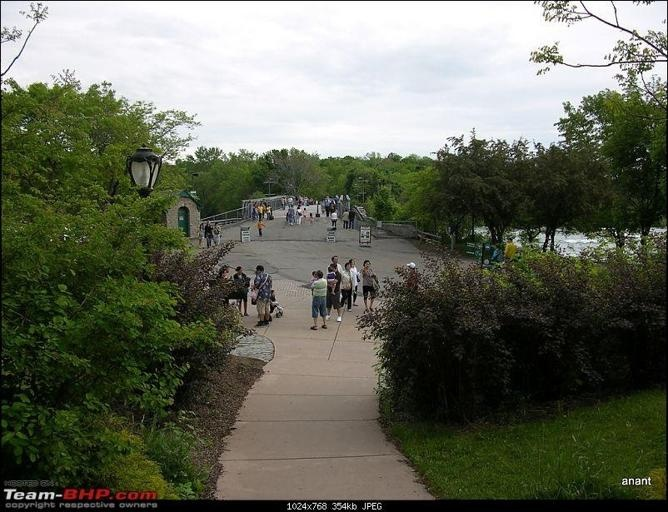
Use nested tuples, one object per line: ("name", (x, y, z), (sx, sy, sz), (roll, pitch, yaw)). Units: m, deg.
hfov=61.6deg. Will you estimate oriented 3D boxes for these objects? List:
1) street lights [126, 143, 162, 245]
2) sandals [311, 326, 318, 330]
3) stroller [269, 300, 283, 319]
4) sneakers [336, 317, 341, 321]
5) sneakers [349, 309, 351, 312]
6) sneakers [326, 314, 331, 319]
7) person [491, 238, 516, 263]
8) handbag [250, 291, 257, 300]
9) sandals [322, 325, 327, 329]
("street lights", (-3.783, -1.687, 11.171), (0.629, 1.027, 0.732), (-2, 7, -20))
("sandals", (-0.556, 2.039, 16.071), (0.188, 0.092, 0.241), (0, 6, -3))
("stroller", (-1.788, 1.663, 17.617), (0.357, 0.502, 0.505), (3, 19, 2))
("sneakers", (0.152, 1.914, 16.987), (0.124, 0.154, 0.348), (-1, -3, 5))
("sneakers", (0.522, 1.782, 18.438), (0.076, 0.093, 0.214), (-1, -2, -2))
("sneakers", (-0.179, 1.845, 17.010), (0.186, 0.216, 0.490), (-1, -7, 1))
("person", (8.145, -0.306, 27.282), (1.275, 0.848, 2.099), (-8, 10, 17))
("handbag", (-2.363, 1.152, 16.547), (0.267, 0.211, 0.259), (-5, -6, 1))
("sandals", (-0.270, 2.038, 16.138), (0.107, 0.143, 0.329), (-1, -1, -5))
